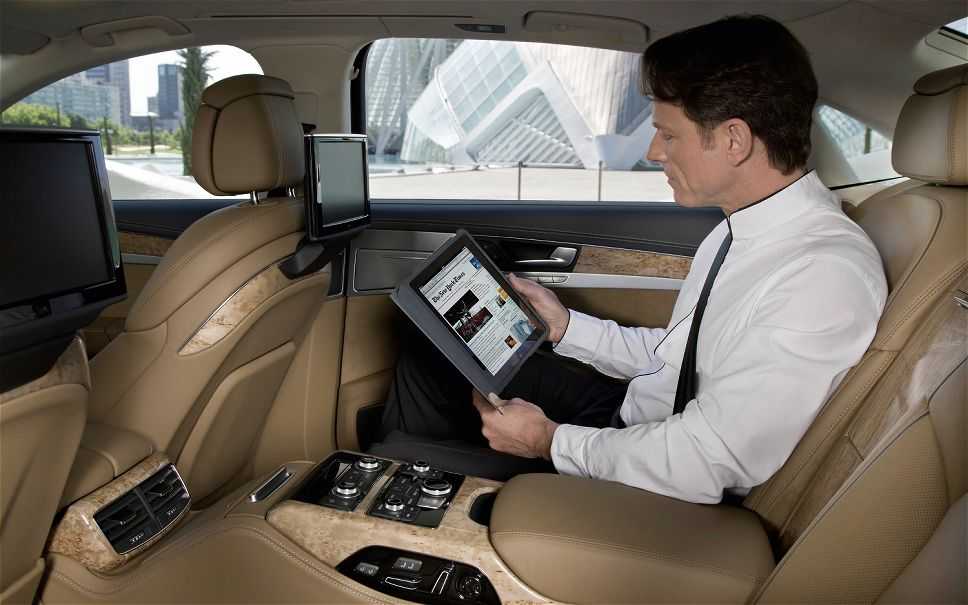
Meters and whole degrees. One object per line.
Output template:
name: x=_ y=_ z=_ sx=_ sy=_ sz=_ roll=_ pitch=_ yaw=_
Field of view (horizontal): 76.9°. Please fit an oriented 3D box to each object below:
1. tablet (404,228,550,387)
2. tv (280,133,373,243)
tablet: x=-0.066 y=0.027 z=1.817 sx=0.427 sy=0.479 sz=0.386 roll=1 pitch=2 yaw=27
tv: x=-0.447 y=-0.318 z=1.681 sx=0.042 sy=0.264 sz=0.316 roll=2 pitch=9 yaw=20
